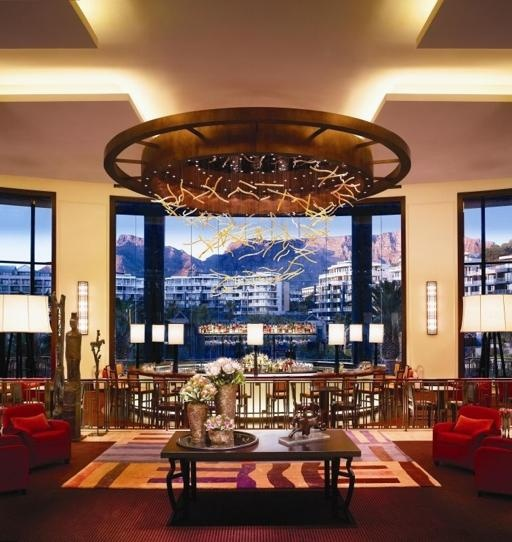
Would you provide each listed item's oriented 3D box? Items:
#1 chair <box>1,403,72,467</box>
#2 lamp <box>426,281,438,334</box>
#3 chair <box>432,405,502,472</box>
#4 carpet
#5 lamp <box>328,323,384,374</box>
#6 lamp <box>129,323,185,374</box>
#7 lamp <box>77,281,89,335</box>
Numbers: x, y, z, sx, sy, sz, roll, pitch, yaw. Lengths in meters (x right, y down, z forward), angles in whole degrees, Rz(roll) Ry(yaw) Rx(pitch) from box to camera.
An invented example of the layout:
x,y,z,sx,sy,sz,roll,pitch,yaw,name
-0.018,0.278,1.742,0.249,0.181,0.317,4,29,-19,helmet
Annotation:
x,y,z,sx,sy,sz,roll,pitch,yaw,name
-2.661,1.980,6.737,0.728,0.834,0.700,-7,-9,37,chair
3.980,0.829,12.400,0.274,1.217,0.198,1,2,18,lamp
2.603,2.055,6.756,0.580,0.751,0.666,13,-11,-35,chair
-0.399,2.194,6.585,2.565,0.007,2.693,-32,-28,35,carpet
2.309,1.728,12.322,1.166,1.095,0.320,2,-7,-14,lamp
-2.250,1.718,12.204,1.126,1.124,0.370,-1,-5,8,lamp
-3.841,0.817,12.238,0.321,1.196,0.211,-1,3,-34,lamp
